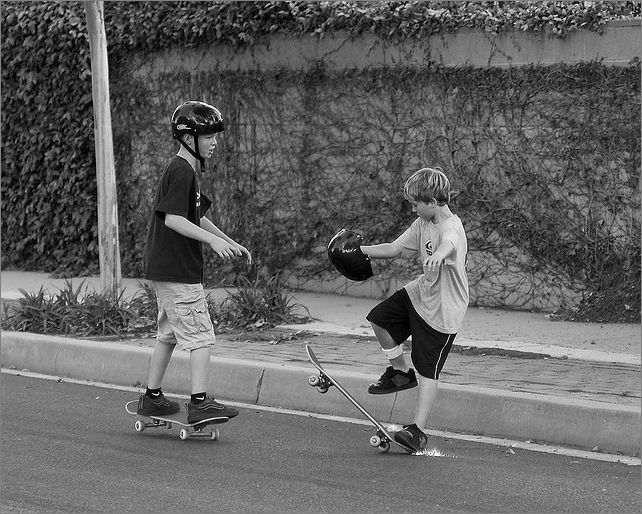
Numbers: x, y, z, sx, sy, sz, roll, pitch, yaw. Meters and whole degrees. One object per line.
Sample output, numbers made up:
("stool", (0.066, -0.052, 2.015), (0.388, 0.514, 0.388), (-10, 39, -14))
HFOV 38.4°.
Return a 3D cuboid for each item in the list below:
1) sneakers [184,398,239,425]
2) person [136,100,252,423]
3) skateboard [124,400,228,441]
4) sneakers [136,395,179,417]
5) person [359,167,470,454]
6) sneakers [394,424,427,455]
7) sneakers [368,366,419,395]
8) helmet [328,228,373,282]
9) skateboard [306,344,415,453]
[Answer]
("sneakers", (-0.813, 1.115, 6.608), (0.415, 0.210, 0.160), (0, -7, -3))
("person", (-1.009, 0.089, 6.732), (0.772, 2.389, 0.836), (-3, 9, -12))
("skateboard", (-1.075, 1.232, 6.840), (0.223, 0.147, 0.778), (-2, 7, -45))
("sneakers", (-1.236, 1.132, 6.972), (0.333, 0.172, 0.139), (2, 4, -25))
("person", (0.729, 0.388, 6.632), (0.665, 2.005, 0.869), (-3, 9, -10))
("sneakers", (0.629, 1.280, 6.470), (0.117, 0.139, 0.288), (8, -23, 49))
("sneakers", (0.546, 0.941, 6.996), (0.428, 0.223, 0.163), (-3, -3, -12))
("helmet", (0.208, 0.004, 7.217), (0.383, 0.306, 0.304), (30, -8, 1))
("skateboard", (0.298, 1.149, 7.235), (0.797, 0.134, 0.180), (54, 7, 11))
